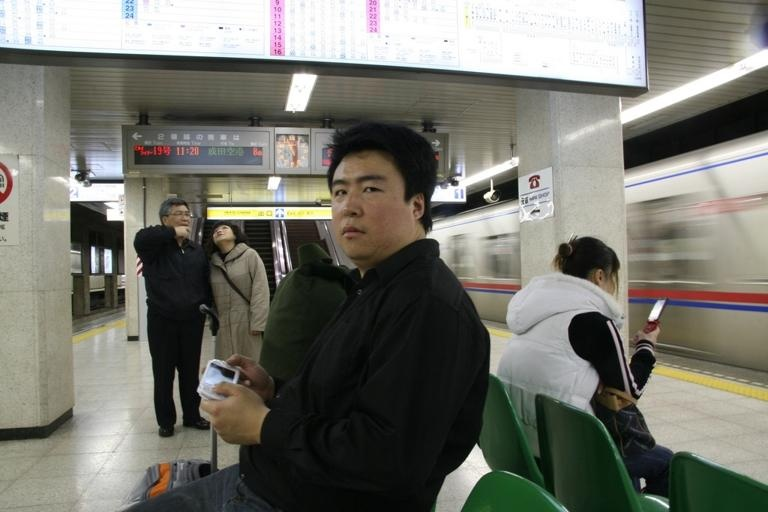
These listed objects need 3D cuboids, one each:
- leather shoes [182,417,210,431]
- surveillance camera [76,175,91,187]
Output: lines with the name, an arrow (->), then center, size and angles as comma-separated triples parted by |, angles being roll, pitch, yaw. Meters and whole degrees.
leather shoes -> -1.881, 1.675, 4.986 | 0.282, 0.105, 0.114 | -1, -1, 1
surveillance camera -> -5.597, -1.462, 9.271 | 0.222, 0.235, 0.274 | -8, -35, -18
